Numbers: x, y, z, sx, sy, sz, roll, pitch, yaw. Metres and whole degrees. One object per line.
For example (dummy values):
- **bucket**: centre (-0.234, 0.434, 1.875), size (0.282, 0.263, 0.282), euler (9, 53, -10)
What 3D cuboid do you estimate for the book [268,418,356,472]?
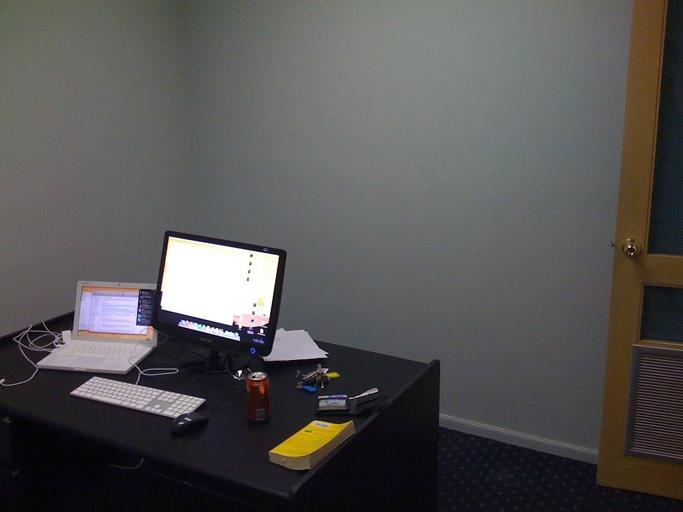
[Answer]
- **book**: centre (-0.101, 0.634, 1.894), size (0.171, 0.135, 0.265), euler (5, 2, 42)

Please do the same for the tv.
- **tv**: centre (-0.536, 0.214, 2.363), size (0.547, 0.526, 0.227), euler (11, 7, 18)

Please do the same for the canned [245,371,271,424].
- **canned**: centre (-0.311, 0.517, 2.030), size (0.087, 0.184, 0.061), euler (3, 2, -11)

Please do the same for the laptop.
- **laptop**: centre (-1.047, 0.322, 2.448), size (0.404, 0.271, 0.389), euler (4, 15, 10)
